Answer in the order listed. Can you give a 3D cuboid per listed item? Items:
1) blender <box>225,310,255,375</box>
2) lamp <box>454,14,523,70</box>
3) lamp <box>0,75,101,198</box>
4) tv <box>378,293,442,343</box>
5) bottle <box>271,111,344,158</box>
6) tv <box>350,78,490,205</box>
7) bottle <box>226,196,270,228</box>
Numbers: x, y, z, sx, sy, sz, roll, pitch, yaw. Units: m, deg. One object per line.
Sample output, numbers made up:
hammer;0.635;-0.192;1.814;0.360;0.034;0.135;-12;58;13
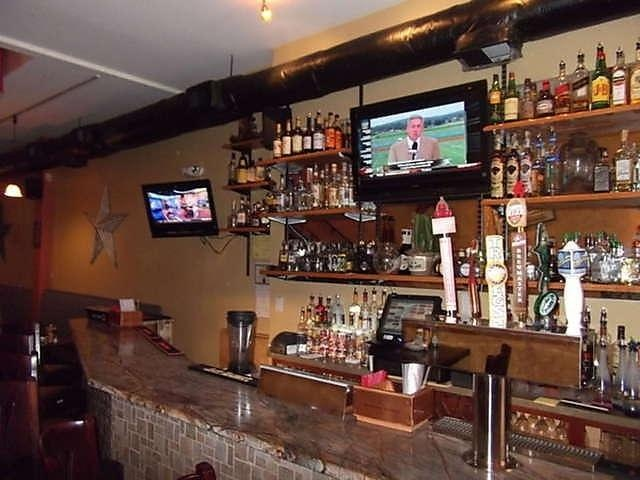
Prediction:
blender;-0.607;0.806;4.222;0.262;0.474;0.262;0;7;-15
lamp;1.095;-1.259;3.614;0.372;0.151;0.292;-13;-26;37
lamp;-3.445;-1.347;6.921;3.278;0.267;0.362;-17;-1;42
tv;0.702;0.621;4.302;0.500;0.386;0.413;4;4;9
bottle;-0.114;-0.936;4.883;0.483;0.287;0.099;4;7;30
tv;0.808;-0.750;4.280;1.114;0.806;0.115;-5;-3;30
bottle;-0.751;-0.292;5.778;0.341;0.334;0.114;2;6;14
